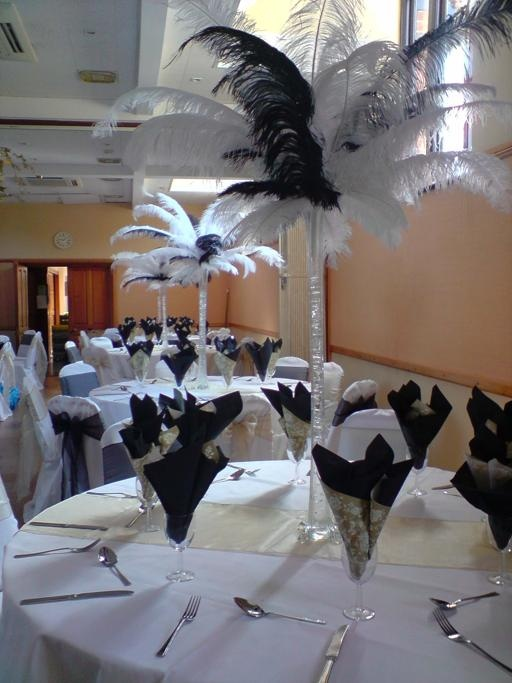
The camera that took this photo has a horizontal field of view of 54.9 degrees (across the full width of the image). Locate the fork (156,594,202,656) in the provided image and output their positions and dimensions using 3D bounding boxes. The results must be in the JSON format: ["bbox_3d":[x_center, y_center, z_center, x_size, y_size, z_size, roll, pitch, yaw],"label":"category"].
[{"bbox_3d":[-0.123,0.460,0.812,0.014,0.014,0.099,-13,12,20],"label":"fork"}]

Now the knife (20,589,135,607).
[{"bbox_3d":[-0.325,0.464,0.900,0.199,0.007,0.031,-1,1,-11],"label":"knife"}]

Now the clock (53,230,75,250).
[{"bbox_3d":[-4.828,-2.533,12.362,0.457,0.441,0.100,0,1,0],"label":"clock"}]

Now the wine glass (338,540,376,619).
[{"bbox_3d":[0.181,0.404,0.884,0.056,0.137,0.159,0,1,10],"label":"wine glass"}]
